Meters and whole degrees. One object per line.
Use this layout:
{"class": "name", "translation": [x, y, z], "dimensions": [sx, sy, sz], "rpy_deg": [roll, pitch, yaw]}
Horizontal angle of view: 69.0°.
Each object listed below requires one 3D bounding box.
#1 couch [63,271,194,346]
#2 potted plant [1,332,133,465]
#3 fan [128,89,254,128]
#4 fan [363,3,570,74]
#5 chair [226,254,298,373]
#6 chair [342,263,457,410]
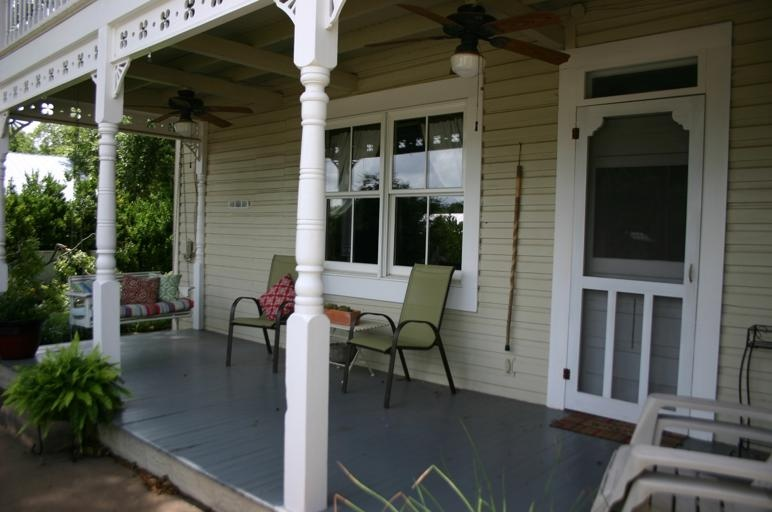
{"class": "couch", "translation": [-3.580, 0.773, 7.780], "dimensions": [0.940, 0.916, 1.737], "rpy_deg": [5, 6, 39]}
{"class": "potted plant", "translation": [-2.892, 1.232, 5.469], "dimensions": [1.079, 1.084, 1.238], "rpy_deg": [-1, 6, -44]}
{"class": "fan", "translation": [-2.804, -2.155, 8.147], "dimensions": [0.955, 0.307, 0.868], "rpy_deg": [-4, -4, 34]}
{"class": "fan", "translation": [0.866, -2.189, 5.602], "dimensions": [1.660, 0.822, 1.139], "rpy_deg": [6, 7, 22]}
{"class": "chair", "translation": [-1.531, 0.684, 7.377], "dimensions": [1.111, 1.415, 1.201], "rpy_deg": [1, -1, 34]}
{"class": "chair", "translation": [0.084, 0.785, 6.381], "dimensions": [1.126, 1.541, 1.040], "rpy_deg": [2, 0, -41]}
